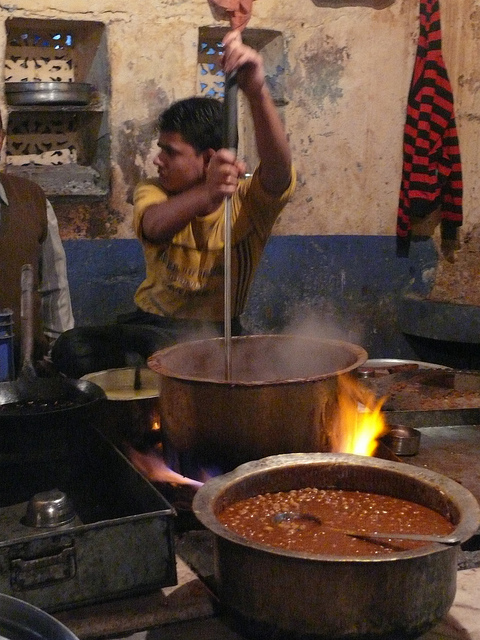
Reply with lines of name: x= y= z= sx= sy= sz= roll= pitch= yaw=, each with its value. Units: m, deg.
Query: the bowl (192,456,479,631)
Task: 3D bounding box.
bowl: x=0.157 y=0.389 z=1.292 sx=0.472 sy=0.208 sz=0.433 roll=2 pitch=9 yaw=0

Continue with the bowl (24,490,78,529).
bowl: x=-0.361 y=0.363 z=1.428 sx=0.090 sy=0.058 sz=0.069 roll=-1 pitch=10 yaw=-19

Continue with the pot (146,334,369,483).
pot: x=0.006 y=0.186 z=1.709 sx=0.392 sy=0.202 sz=0.402 roll=0 pitch=8 yaw=0

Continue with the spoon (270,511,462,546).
spoon: x=0.211 y=0.347 z=1.246 sx=0.301 sy=0.035 sz=0.062 roll=5 pitch=4 yaw=22

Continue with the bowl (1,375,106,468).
bowl: x=-0.414 y=0.224 z=1.637 sx=0.233 sy=0.137 sz=0.326 roll=0 pitch=9 yaw=-10
